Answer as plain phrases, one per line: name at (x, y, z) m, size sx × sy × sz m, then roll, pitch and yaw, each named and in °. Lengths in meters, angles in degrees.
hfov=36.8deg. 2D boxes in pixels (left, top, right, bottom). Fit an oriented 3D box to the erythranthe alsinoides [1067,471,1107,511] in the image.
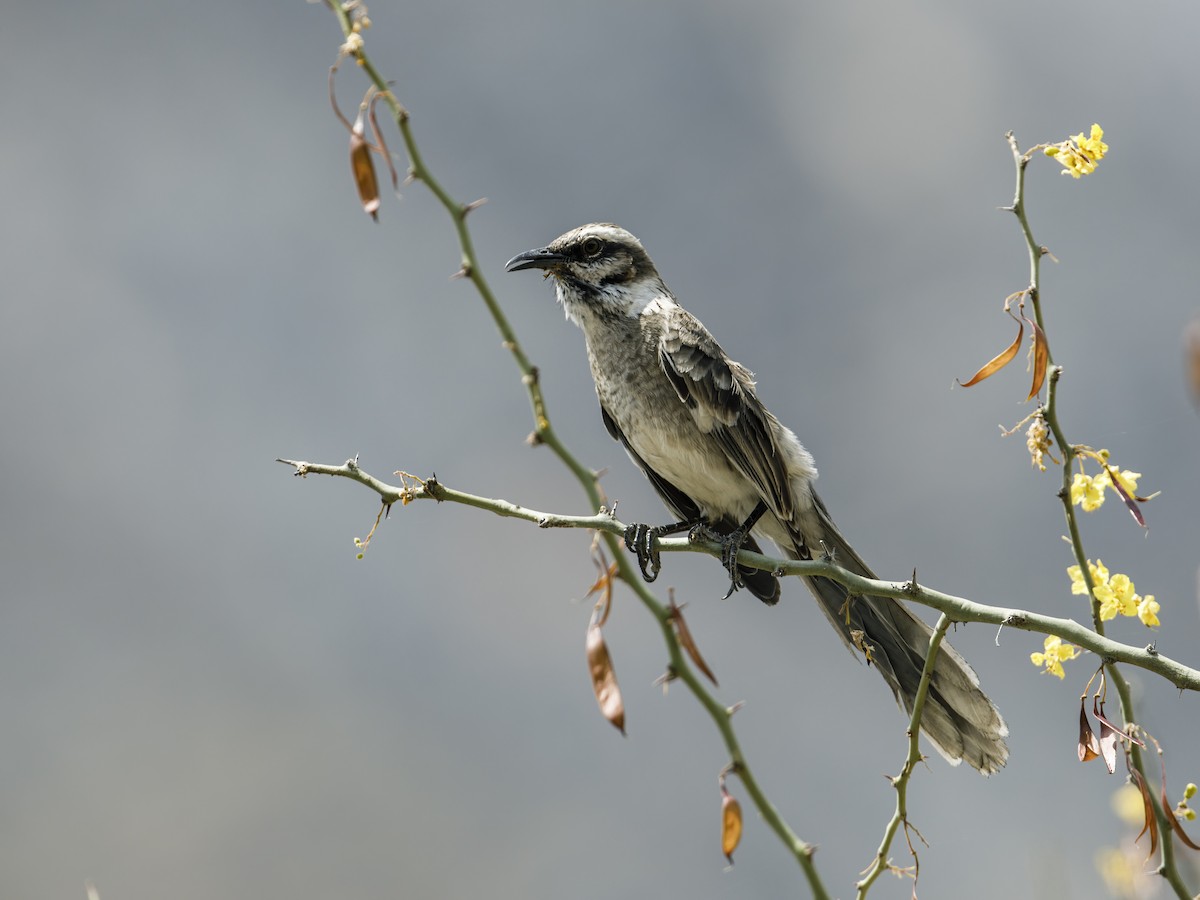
erythranthe alsinoides at (1.002, 0.081, 3.734) m, size 0.034 × 0.074 × 0.088 m, roll 4°, pitch -75°, yaw -50°
